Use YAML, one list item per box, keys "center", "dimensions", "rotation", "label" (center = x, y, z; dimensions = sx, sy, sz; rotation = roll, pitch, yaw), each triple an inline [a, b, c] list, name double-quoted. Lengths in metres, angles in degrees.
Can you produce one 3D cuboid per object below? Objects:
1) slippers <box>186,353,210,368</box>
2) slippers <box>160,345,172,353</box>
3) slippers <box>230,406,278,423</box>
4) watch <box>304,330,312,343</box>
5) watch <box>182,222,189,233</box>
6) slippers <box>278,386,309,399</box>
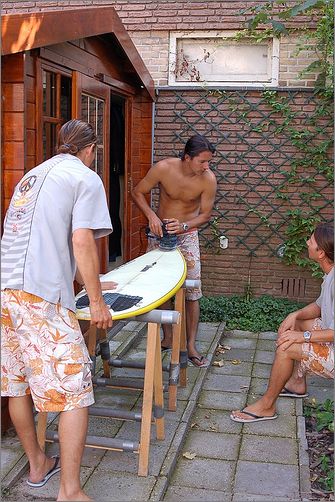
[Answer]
- center: [0.231, 0.873, 3.981]
  dimensions: [0.182, 0.042, 0.073]
  rotation: [3, 12, 29]
  label: "slippers"
- center: [-0.022, 0.826, 4.222]
  dimensions: [0.108, 0.036, 0.036]
  rotation: [5, 1, -19]
  label: "slippers"
- center: [0.533, 1.011, 3.123]
  dimensions: [0.212, 0.042, 0.102]
  rotation: [4, 1, 0]
  label: "slippers"
- center: [0.792, 0.491, 2.885]
  dimensions: [0.038, 0.051, 0.053]
  rotation: [-3, -31, 21]
  label: "watch"
- center: [0.131, -0.192, 3.973]
  dimensions: [0.046, 0.060, 0.062]
  rotation: [-3, -14, -28]
  label: "watch"
- center: [0.848, 0.974, 3.479]
  dimensions: [0.212, 0.048, 0.075]
  rotation: [0, 7, 10]
  label: "slippers"
